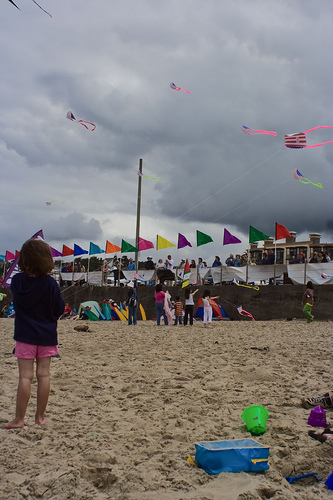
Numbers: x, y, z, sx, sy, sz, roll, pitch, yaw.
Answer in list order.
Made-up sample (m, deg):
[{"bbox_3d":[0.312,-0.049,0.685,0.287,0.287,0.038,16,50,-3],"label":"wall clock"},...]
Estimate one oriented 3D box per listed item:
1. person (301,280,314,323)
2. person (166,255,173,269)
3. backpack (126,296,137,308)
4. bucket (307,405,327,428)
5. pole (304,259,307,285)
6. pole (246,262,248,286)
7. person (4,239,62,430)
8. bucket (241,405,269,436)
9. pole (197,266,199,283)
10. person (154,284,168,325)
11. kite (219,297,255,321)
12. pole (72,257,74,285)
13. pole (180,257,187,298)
[{"bbox_3d":[5.387,1.946,15.317,0.449,1.527,2.628,1,-3,20],"label":"person"},{"bbox_3d":[0.143,0.656,20.341,0.319,0.620,0.835,2,-3,0],"label":"person"},{"bbox_3d":[-1.284,1.910,14.780,0.430,0.315,0.605,6,-41,-5],"label":"backpack"},{"bbox_3d":[1.335,1.477,3.585,0.156,0.166,0.157,2,-4,0],"label":"bucket"},{"bbox_3d":[5.665,0.926,16.438,0.067,1.018,0.182,1,-3,21],"label":"pole"},{"bbox_3d":[3.504,1.089,17.474,0.073,0.955,0.253,1,-3,10],"label":"pole"},{"bbox_3d":[-1.136,0.717,3.463,0.426,1.614,0.265,3,-3,-21],"label":"person"},{"bbox_3d":[0.785,1.492,3.516,0.194,0.158,0.241,-1,-4,38],"label":"bucket"},{"bbox_3d":[1.446,1.214,18.872,0.048,0.688,0.179,3,-3,-15],"label":"pole"},{"bbox_3d":[-0.193,2.109,15.256,0.513,1.580,1.526,2,-3,0],"label":"person"},{"bbox_3d":[3.121,2.575,17.417,1.729,1.119,1.042,-1,0,-2],"label":"kite"},{"bbox_3d":[-5.138,1.533,22.009,0.070,0.554,0.376,2,-3,-10],"label":"pole"},{"bbox_3d":[0.747,1.367,17.556,0.052,2.215,0.077,11,-12,9],"label":"pole"}]
